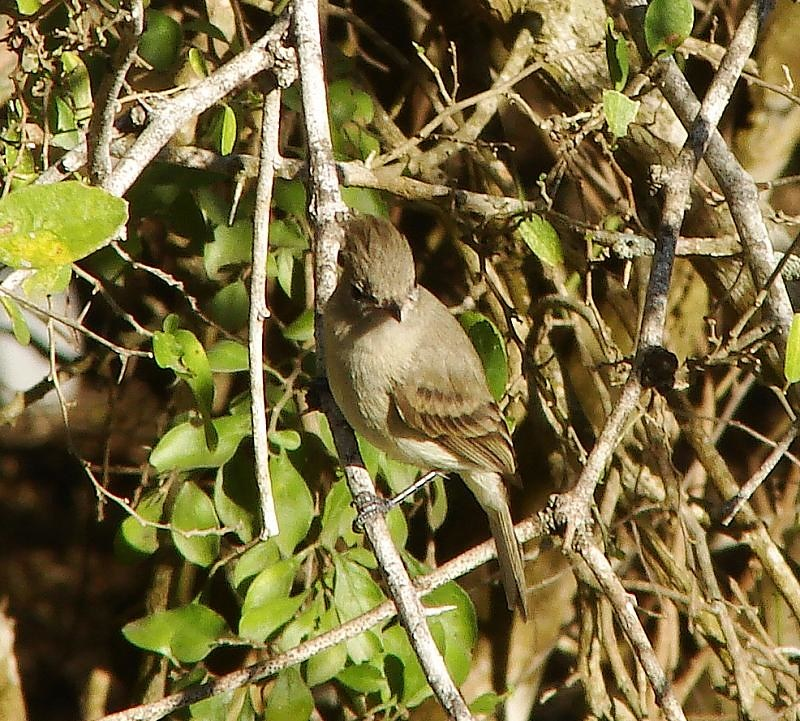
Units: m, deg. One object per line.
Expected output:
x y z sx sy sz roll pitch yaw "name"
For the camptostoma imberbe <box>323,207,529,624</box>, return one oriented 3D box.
0.192 0.193 5.377 1.007 1.499 0.556 3 23 -25 "camptostoma imberbe"
